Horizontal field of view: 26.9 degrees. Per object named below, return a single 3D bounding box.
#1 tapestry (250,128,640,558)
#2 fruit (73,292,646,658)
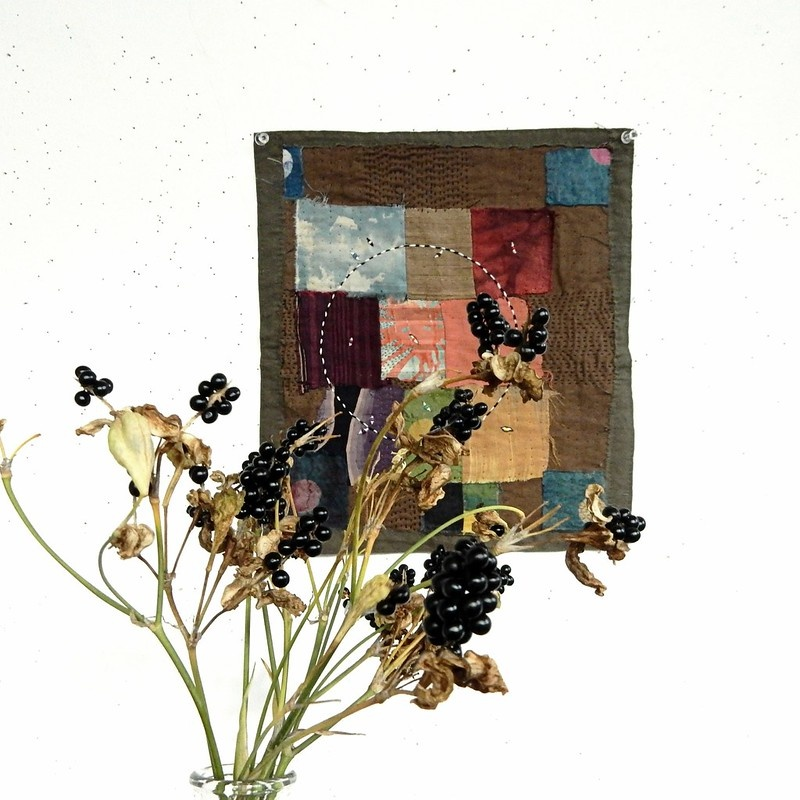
[{"bbox_3d":[0.043,-0.073,2.308,0.569,0.683,0.053,-1,-1,-3],"label":"tapestry"},{"bbox_3d":[-0.019,0.057,1.974,0.549,0.234,0.427,4,-24,15],"label":"fruit"}]
